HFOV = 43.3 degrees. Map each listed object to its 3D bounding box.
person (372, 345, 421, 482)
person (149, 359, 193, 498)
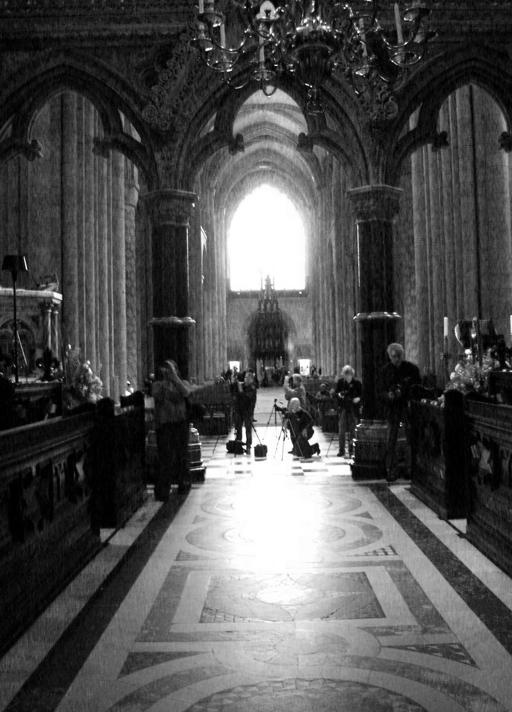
[{"bbox_3d":[1.719,0.679,7.667,0.430,1.612,1.287,0,-1,11],"label":"person"},{"bbox_3d":[-0.924,0.799,7.036,0.407,1.448,0.631,0,-1,-11],"label":"person"}]
